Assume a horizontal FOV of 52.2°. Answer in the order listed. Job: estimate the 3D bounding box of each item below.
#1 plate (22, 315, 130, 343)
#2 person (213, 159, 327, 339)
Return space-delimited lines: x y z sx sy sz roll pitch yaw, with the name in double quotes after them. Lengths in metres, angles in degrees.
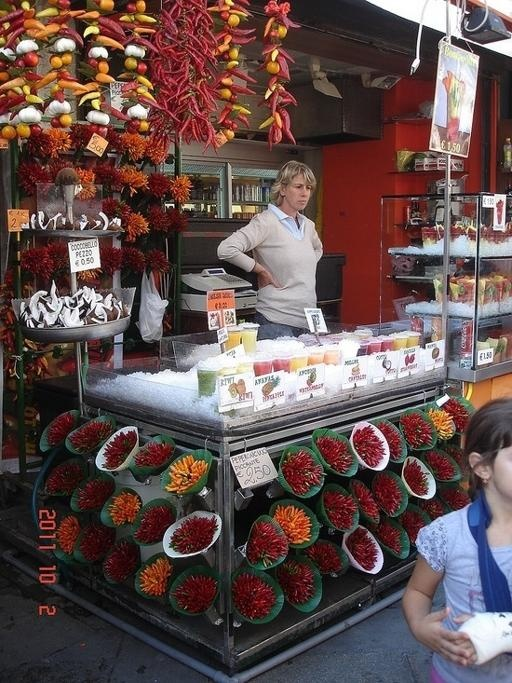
-0.696 -0.080 1.970 0.298 0.092 0.336 13 12 37 "plate"
0.136 -0.454 2.932 0.438 1.004 0.515 13 11 36 "person"
